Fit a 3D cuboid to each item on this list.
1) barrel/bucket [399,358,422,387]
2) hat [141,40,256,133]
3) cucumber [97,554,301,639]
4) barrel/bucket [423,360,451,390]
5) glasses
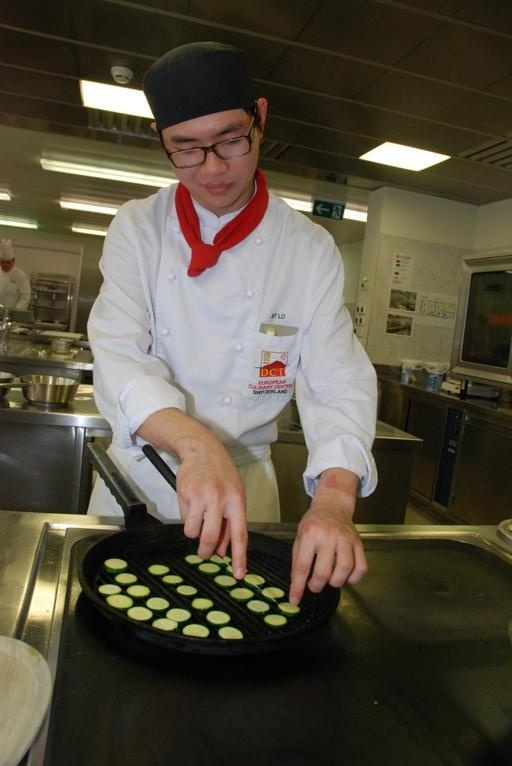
[{"bbox_3d":[1.394,-0.108,4.732,0.204,0.341,0.226,6,1,18],"label":"barrel/bucket"},{"bbox_3d":[-0.104,-0.538,0.945,0.196,0.120,0.194,-14,33,1],"label":"hat"},{"bbox_3d":[-0.086,0.293,0.746,0.264,0.028,0.259,5,4,-23],"label":"cucumber"},{"bbox_3d":[1.531,-0.061,4.484,0.166,0.213,0.291,7,4,7],"label":"barrel/bucket"},{"bbox_3d":[-0.083,-0.423,0.955,0.149,0.054,0.068,6,4,-5],"label":"glasses"}]
